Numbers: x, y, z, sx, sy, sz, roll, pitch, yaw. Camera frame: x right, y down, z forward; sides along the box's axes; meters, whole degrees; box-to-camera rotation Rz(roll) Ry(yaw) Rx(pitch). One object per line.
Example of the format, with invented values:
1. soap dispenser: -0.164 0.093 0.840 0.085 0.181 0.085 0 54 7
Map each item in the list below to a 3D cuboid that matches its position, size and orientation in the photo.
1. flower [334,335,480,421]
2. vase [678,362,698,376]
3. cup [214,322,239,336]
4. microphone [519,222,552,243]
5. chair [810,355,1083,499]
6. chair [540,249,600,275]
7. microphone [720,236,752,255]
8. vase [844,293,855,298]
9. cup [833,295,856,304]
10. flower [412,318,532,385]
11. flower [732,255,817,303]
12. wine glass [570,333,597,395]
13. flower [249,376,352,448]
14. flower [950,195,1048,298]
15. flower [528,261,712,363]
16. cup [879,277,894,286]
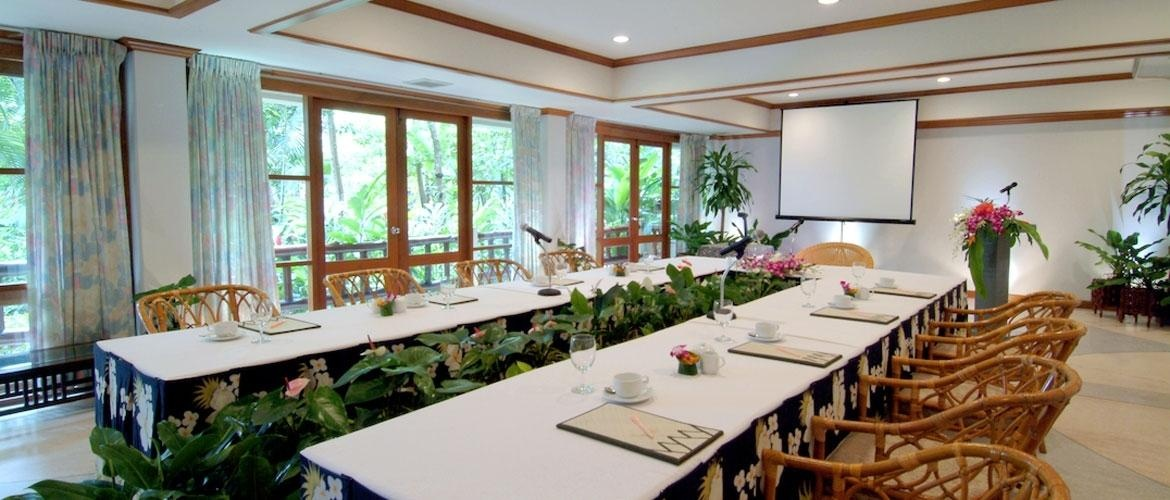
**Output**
1. flower: -1.965 1.396 6.777 1.336 0.389 1.099 1 16 0
2. vase: 1.060 1.237 6.441 0.168 0.100 0.159 -1 2 -38
3. cup: -3.979 0.874 6.950 0.242 0.074 0.173 -1 3 -11
4. microphone: -0.802 -0.286 9.824 0.689 0.209 0.184 21 48 15
5. chair: 3.649 1.675 6.402 2.107 0.996 1.795 0 4 40
6. chair: -0.358 0.167 9.914 0.634 0.629 0.571 -4 5 -41
7. microphone: 1.710 -0.041 7.103 0.346 0.261 0.368 -2 7 10
8. vase: 3.226 0.546 7.628 0.109 0.077 0.094 0 6 4
9. cup: 3.099 0.583 7.500 0.143 0.069 0.144 -3 -1 0
10. flower: -1.198 1.053 6.923 1.261 0.438 0.860 1 2 -30
11. flower: 2.759 0.316 8.439 0.958 0.423 0.892 0 0 -33
12. wine glass: -0.022 1.137 6.351 0.233 0.605 0.287 -4 9 2
13. flower: -2.920 1.530 6.427 1.076 0.479 0.915 -5 20 -19
14. flower: 6.135 -0.026 9.400 0.958 1.384 0.741 -4 9 1
15. flower: 0.419 0.712 7.638 2.577 0.666 0.880 -6 3 -30
16. cup: 3.942 0.406 8.165 0.155 0.070 0.138 -1 7 24
